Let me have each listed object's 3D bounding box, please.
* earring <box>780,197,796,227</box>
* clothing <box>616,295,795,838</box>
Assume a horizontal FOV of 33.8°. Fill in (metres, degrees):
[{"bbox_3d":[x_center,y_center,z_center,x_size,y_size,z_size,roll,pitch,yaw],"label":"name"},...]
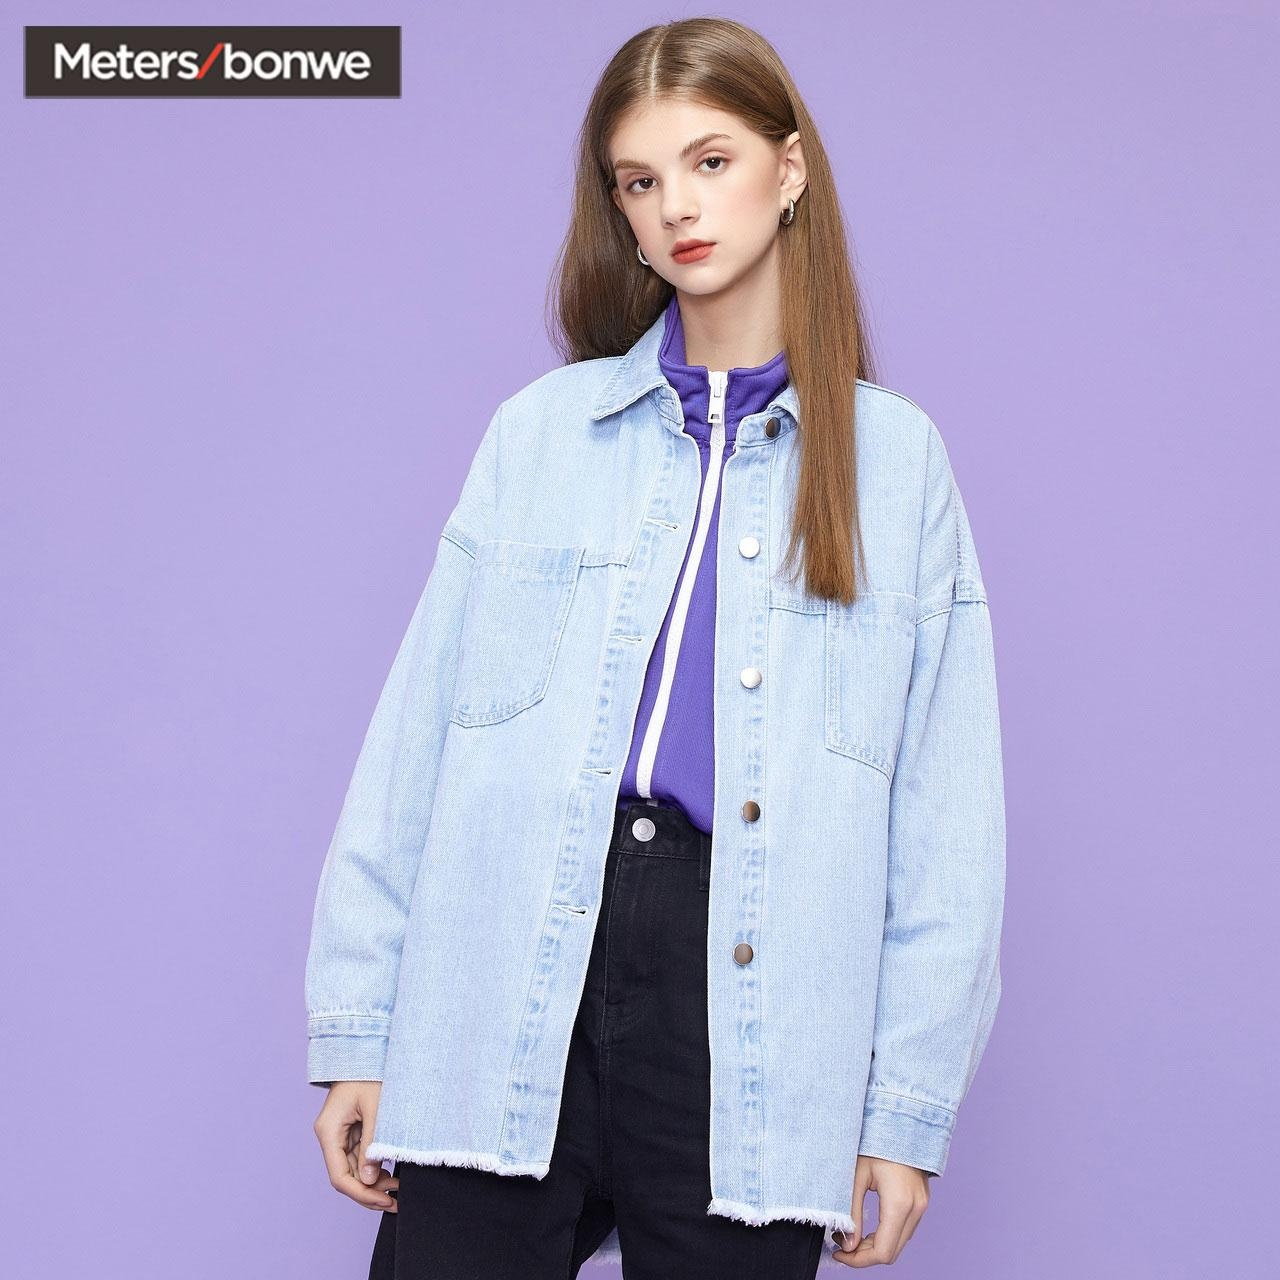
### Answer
[{"bbox_3d":[0.199,-0.577,2.834,0.007,0.031,0.028,6,-6,-16],"label":"earring"},{"bbox_3d":[0.070,-0.073,2.666,0.178,0.675,0.094,4,-9,11],"label":"clothing"}]
